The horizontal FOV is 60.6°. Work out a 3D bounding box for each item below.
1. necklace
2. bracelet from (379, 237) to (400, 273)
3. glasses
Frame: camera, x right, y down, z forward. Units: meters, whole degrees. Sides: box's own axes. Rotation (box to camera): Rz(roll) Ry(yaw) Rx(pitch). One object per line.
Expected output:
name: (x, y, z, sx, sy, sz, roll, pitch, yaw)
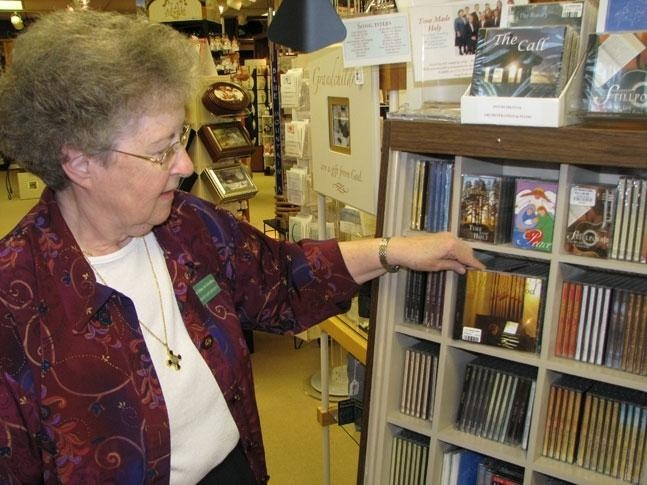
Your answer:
necklace: (-0.549, 0.146, 1.696, 0.141, 0.506, 0.015, -16, -14, -37)
bracelet: (0.228, 0.058, 2.011, 0.095, 0.114, 0.108, -6, -23, 7)
glasses: (-0.506, -0.248, 1.592, 0.149, 0.157, 0.049, 15, -39, 1)
